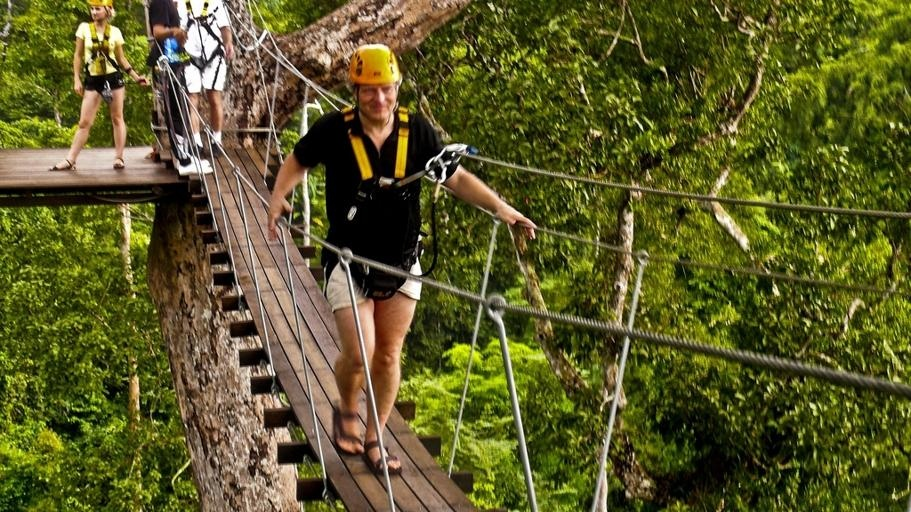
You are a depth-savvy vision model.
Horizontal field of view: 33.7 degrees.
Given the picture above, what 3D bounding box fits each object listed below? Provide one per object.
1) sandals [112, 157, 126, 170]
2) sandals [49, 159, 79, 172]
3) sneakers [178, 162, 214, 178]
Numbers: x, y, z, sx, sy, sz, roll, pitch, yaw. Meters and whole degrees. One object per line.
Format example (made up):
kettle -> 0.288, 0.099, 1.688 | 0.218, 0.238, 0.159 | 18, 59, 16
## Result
sandals -> -6.083, -1.692, 27.162 | 0.175, 0.122, 0.457 | 3, 10, -13
sandals -> -7.029, -1.669, 27.097 | 0.561, 0.220, 0.189 | 1, 3, 1
sneakers -> -4.559, -1.545, 26.281 | 0.494, 0.190, 0.278 | -3, 23, -7
